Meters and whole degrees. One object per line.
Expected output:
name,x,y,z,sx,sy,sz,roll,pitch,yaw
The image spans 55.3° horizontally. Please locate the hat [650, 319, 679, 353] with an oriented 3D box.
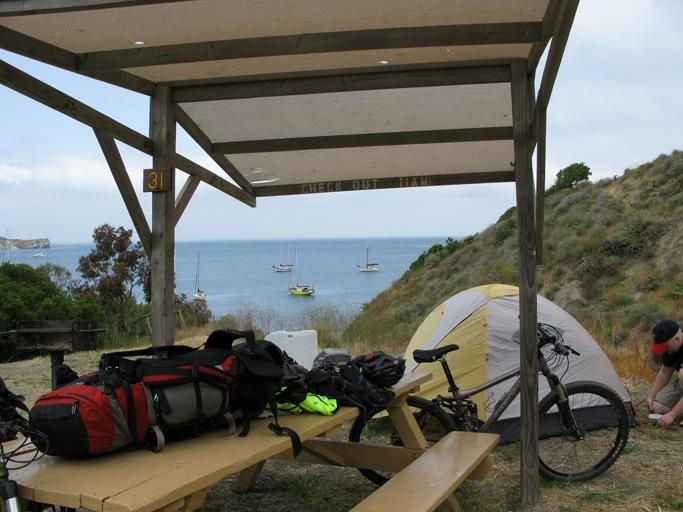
hat,3.668,0.898,7.358,0.272,0.348,0.511,-6,-4,33
